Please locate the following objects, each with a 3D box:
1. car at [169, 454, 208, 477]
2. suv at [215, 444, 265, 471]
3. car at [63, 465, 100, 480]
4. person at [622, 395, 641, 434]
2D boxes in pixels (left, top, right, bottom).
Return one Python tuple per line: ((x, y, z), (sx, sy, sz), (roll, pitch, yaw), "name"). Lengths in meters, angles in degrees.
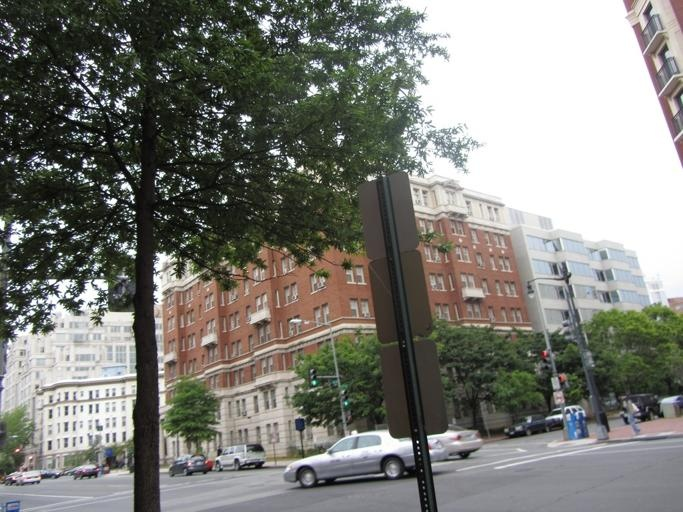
((-11.659, 16.117, 43.503), (3.117, 1.430, 1.238), (-21, -23, 32), "car")
((-7.964, 15.714, 43.811), (1.729, 1.793, 5.905), (5, -24, -34), "suv")
((-28.377, 24.031, 63.038), (1.951, 1.593, 4.566), (5, -24, -34), "car")
((12.747, 7.027, 24.633), (0.506, 1.603, 0.534), (18, -27, -31), "person")
